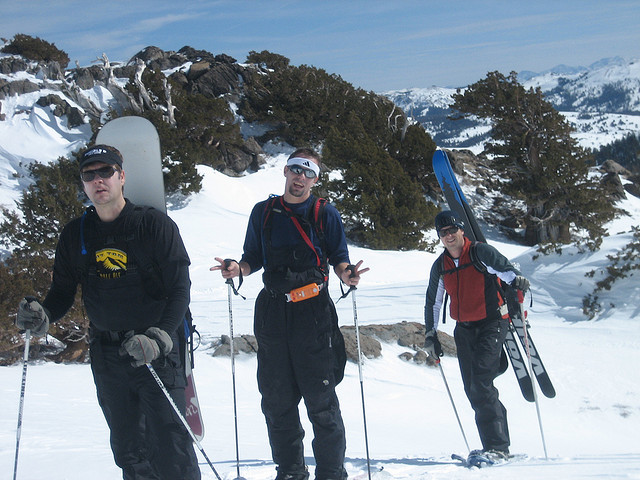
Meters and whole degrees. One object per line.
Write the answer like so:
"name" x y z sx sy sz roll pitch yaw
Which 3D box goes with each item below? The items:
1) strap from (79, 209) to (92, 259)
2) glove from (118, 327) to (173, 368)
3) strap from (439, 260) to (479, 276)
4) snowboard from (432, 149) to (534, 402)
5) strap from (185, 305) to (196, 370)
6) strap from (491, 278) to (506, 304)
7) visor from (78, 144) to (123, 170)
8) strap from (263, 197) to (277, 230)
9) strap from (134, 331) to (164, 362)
"strap" -3.620 -0.102 11.883 0.171 0.703 0.290 -2 10 4
"glove" -2.618 1.635 11.537 0.776 0.616 0.268 -6 10 -12
"strap" 2.491 0.496 13.712 0.551 0.085 0.079 -23 -22 31
"snowboard" 3.270 0.391 16.066 0.475 5.938 0.392 -25 -37 15
"strap" -2.110 1.601 12.501 0.170 0.941 0.156 3 -3 -10
"strap" 3.135 0.914 13.609 0.063 0.477 0.061 -20 -1 39
"visor" -3.423 -1.299 11.948 0.642 0.348 0.503 -7 11 -19
"strap" -0.858 -0.455 12.679 0.116 0.458 0.239 12 0 37
"strap" -2.510 1.578 11.622 0.177 0.482 0.351 -40 4 12
